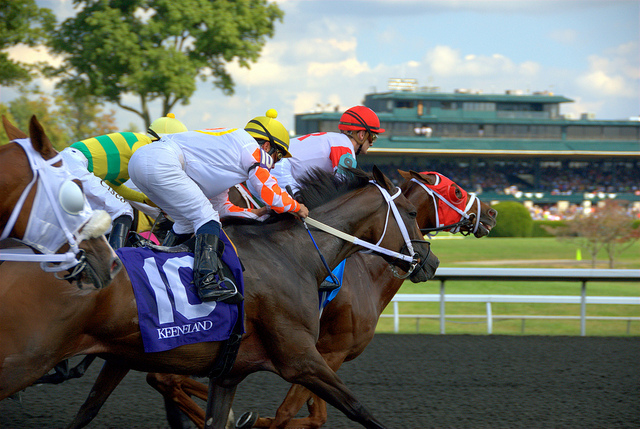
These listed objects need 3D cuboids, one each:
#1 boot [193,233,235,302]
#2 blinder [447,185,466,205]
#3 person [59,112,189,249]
[{"bbox_3d":[-0.881,0.423,8.302,0.326,0.518,0.236,-2,11,-6],"label":"boot"},{"bbox_3d":[1.310,-0.189,9.975,0.180,0.060,0.163,41,24,16],"label":"blinder"},{"bbox_3d":[-1.476,-0.280,9.722,0.750,1.204,2.059,-12,12,1],"label":"person"}]
